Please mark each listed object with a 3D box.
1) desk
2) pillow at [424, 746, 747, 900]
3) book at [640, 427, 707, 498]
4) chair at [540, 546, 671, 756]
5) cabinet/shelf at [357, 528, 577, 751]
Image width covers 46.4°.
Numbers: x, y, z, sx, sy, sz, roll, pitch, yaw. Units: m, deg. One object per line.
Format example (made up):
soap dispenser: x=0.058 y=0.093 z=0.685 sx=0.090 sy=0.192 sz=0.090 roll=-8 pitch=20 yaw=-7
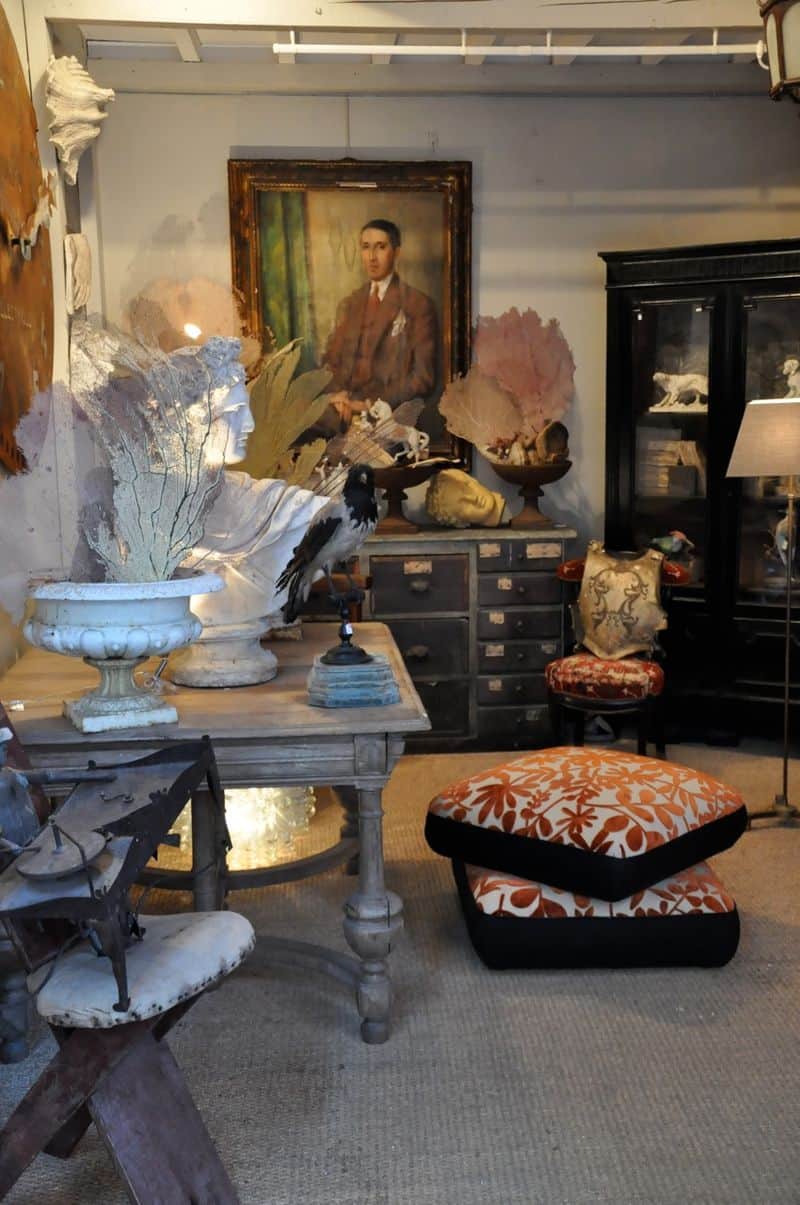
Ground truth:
desk: x=-0.421 y=0.530 z=2.148 sx=0.884 sy=0.792 sz=0.843 roll=0 pitch=4 yaw=-5
pillow: x=0.521 y=0.557 z=2.392 sx=0.427 sy=0.213 sz=0.460 roll=-3 pitch=6 yaw=-27
book: x=1.260 y=-0.614 z=4.489 sx=0.379 sy=0.385 sz=0.287 roll=-1 pitch=0 yaw=2
chair: x=0.911 y=0.215 z=4.080 sx=0.474 sy=0.923 sz=0.858 roll=1 pitch=4 yaw=15
cabinet/shelf: x=0.275 y=0.123 z=3.914 sx=0.991 sy=0.958 sz=0.367 roll=-1 pitch=1 yaw=-3
